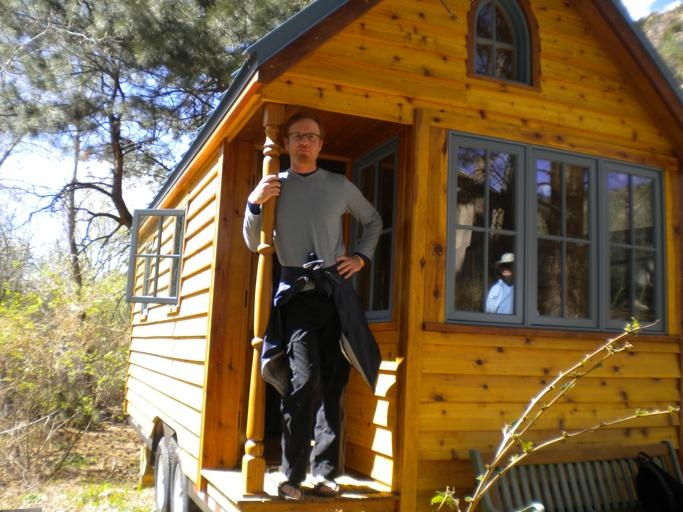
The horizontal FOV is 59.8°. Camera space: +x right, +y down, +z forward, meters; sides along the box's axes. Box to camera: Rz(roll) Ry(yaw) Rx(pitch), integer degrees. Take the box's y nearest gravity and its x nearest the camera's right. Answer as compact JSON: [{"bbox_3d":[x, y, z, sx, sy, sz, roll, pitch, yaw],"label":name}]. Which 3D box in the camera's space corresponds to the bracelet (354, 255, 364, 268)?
[{"bbox_3d":[0.144,0.040,4.522,0.034,0.094,0.077,-33,17,6],"label":"bracelet"}]

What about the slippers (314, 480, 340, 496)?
[{"bbox_3d":[-0.105,1.624,4.175,0.210,0.083,0.089,4,-9,11],"label":"slippers"}]

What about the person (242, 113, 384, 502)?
[{"bbox_3d":[-0.245,0.511,4.397,1.067,2.398,0.380,10,-17,-20],"label":"person"}]
